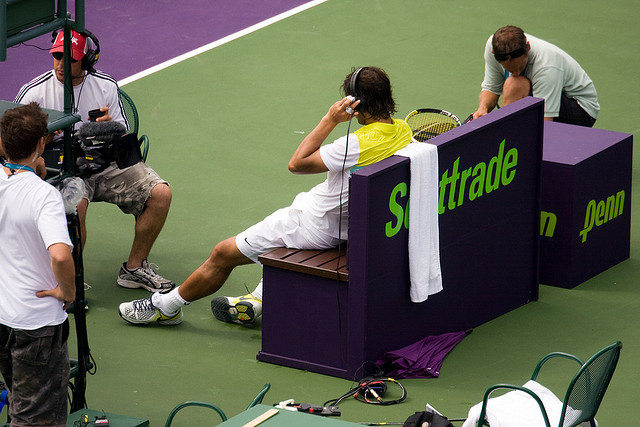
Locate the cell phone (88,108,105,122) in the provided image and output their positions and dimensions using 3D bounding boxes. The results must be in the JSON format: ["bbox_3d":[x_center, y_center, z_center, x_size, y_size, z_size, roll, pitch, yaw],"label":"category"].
[{"bbox_3d":[-2.078,-0.913,7.080,0.124,0.112,0.118,1,5,-1],"label":"cell phone"}]

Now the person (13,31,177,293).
[{"bbox_3d":[-2.194,-0.440,7.256,1.469,2.424,1.168,10,19,30],"label":"person"}]

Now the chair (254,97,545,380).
[{"bbox_3d":[0.811,0.135,6.919,1.309,1.842,2.743,11,22,40],"label":"chair"}]

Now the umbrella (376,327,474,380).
[{"bbox_3d":[0.902,1.178,6.199,0.917,0.200,0.319,-9,15,-33],"label":"umbrella"}]

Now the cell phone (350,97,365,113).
[{"bbox_3d":[0.310,-0.853,6.019,0.089,0.120,0.130,24,37,30],"label":"cell phone"}]

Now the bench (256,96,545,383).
[{"bbox_3d":[0.765,0.304,6.329,0.996,1.502,2.146,19,30,39],"label":"bench"}]
